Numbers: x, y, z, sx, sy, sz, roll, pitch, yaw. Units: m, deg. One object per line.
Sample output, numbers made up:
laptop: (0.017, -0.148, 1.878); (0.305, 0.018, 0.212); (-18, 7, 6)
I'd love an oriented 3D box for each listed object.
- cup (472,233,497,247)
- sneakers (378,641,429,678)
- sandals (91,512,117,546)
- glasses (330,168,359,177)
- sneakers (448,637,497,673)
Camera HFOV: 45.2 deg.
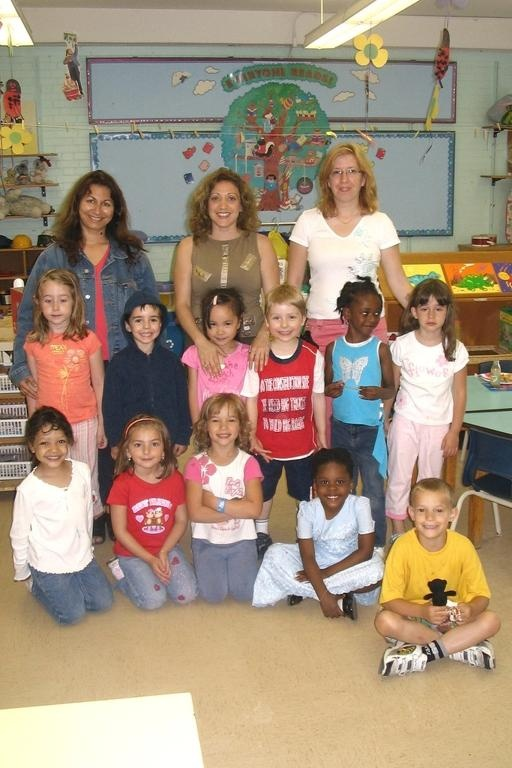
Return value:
cup: (2.523, -1.574, 6.782); (0.252, 0.082, 0.179); (-8, 12, -35)
sneakers: (0.465, 0.881, 1.964); (0.152, 0.076, 0.055); (-5, 20, -1)
sandals: (-0.744, 0.708, 2.980); (0.115, 0.177, 0.052); (-4, 18, -24)
glasses: (0.352, -0.843, 2.449); (0.103, 0.036, 0.025); (1, 9, 11)
sneakers: (0.709, 0.878, 1.988); (0.179, 0.060, 0.077); (-2, 14, 15)
